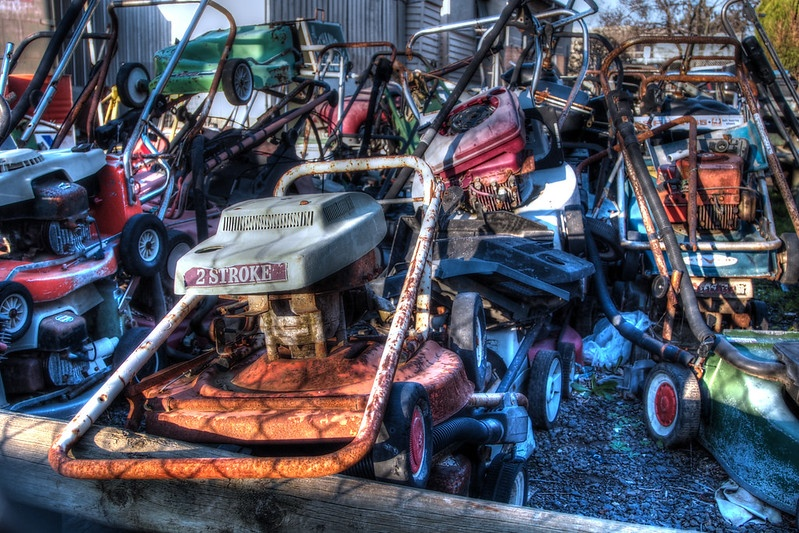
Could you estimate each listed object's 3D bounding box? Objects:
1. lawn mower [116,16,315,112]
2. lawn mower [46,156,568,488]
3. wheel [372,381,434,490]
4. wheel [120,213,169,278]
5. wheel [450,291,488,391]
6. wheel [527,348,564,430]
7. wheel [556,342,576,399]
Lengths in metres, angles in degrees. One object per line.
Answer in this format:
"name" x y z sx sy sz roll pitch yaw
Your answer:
"lawn mower" -1.846 -2.375 7.652 1.142 0.769 1.573 11 22 33
"lawn mower" -0.184 0.356 3.916 1.642 1.359 2.608 0 12 17
"wheel" 0.004 0.799 3.119 0.176 0.509 0.481 -1 5 26
"wheel" -2.045 -0.165 5.213 0.108 0.375 0.362 5 32 20
"wheel" 0.412 0.459 3.921 0.143 0.487 0.474 -2 -26 12
"wheel" 1.072 0.912 4.843 0.244 0.539 0.510 -4 -9 22
"wheel" 1.328 0.828 5.253 0.101 0.342 0.327 -2 20 13
